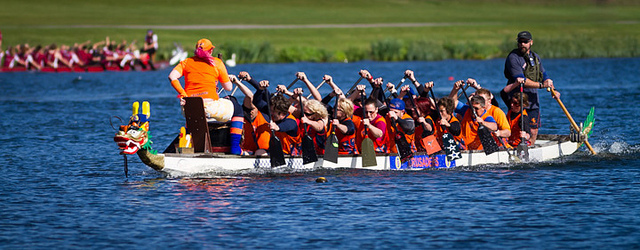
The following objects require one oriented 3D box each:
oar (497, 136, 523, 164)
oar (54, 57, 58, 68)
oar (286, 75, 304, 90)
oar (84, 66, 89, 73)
[{"bbox_3d":[14.876,1.947,76.468,0.425,2.967,0.416,-49,5,8],"label":"oar"},{"bbox_3d":[-27.704,-6.666,102.146,0.351,1.033,0.454,-3,-4,-29],"label":"oar"},{"bbox_3d":[-1.991,-3.475,77.130,1.884,0.404,0.589,-31,-33,25],"label":"oar"},{"bbox_3d":[-24.512,-5.946,102.147,0.566,0.685,0.201,2,3,8],"label":"oar"}]
